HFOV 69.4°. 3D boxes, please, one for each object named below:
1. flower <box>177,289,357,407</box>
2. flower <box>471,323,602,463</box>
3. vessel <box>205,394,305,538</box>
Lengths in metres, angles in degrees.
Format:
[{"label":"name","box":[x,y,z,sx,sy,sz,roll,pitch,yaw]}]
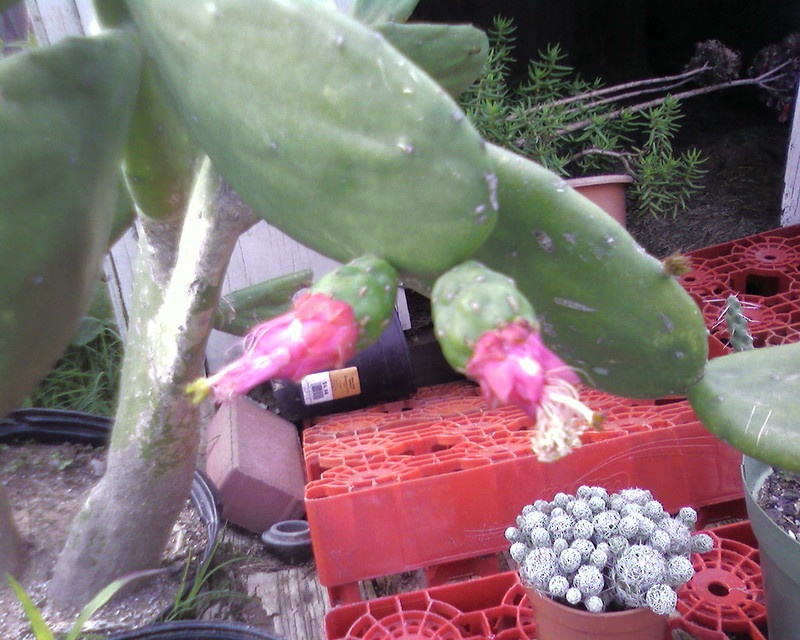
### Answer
[{"label":"flower","box":[-0.091,0.019,0.401,0.103,0.064,0.057,-27,58,-6]},{"label":"flower","box":[0.084,0.045,0.401,0.062,0.100,0.047,-33,1,-23]},{"label":"vessel","box":[-0.314,0.300,1.255,0.182,0.096,0.398,32,2,-20]}]
